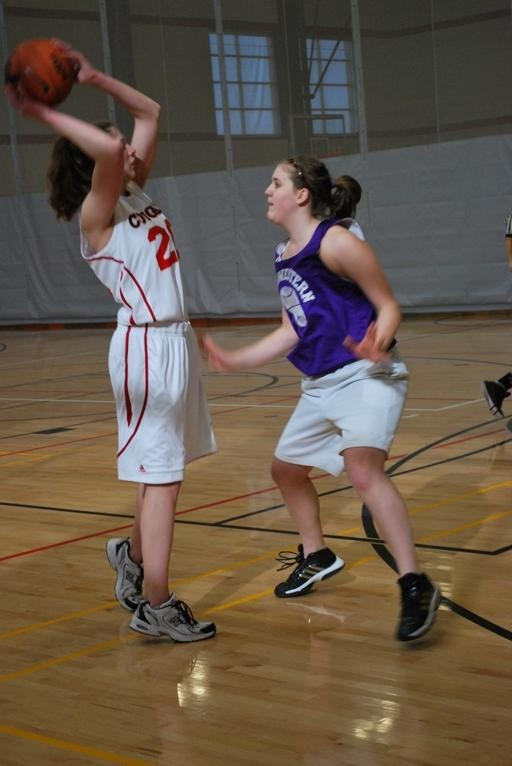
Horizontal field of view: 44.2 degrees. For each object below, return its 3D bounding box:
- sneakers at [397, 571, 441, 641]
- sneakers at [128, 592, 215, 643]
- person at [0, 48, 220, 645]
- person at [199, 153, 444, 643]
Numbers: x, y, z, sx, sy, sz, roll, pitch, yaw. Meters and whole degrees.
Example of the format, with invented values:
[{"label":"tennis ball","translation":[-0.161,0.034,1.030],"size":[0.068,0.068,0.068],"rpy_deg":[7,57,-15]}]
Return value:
[{"label":"sneakers","translation":[0.317,0.448,1.245],"size":[0.085,0.125,0.068],"rpy_deg":[-6,-2,27]},{"label":"sneakers","translation":[-0.186,0.518,1.420],"size":[0.241,0.107,0.080],"rpy_deg":[7,-4,-3]},{"label":"person","translation":[-0.298,-0.103,1.402],"size":[0.360,0.924,0.500],"rpy_deg":[-5,-2,-3]},{"label":"person","translation":[0.189,-0.003,1.469],"size":[0.292,0.909,0.491],"rpy_deg":[-5,-2,-13]}]
